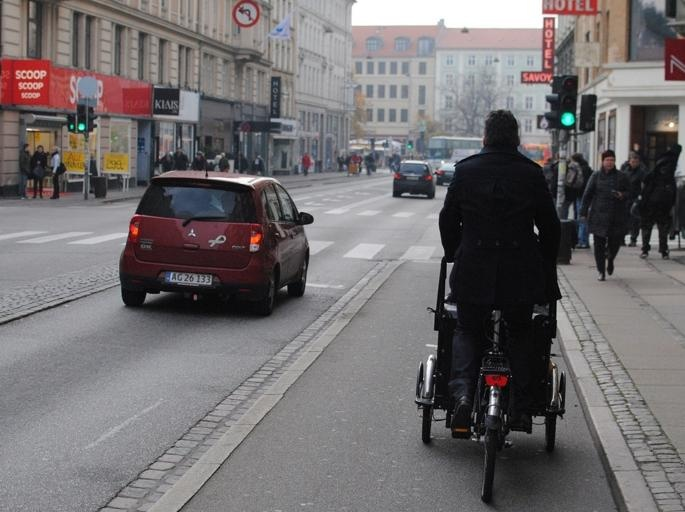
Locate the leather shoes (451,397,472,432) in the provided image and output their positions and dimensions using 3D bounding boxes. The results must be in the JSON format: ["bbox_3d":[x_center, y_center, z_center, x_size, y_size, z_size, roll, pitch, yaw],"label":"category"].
[{"bbox_3d":[0.739,0.979,4.616,0.085,0.235,0.095,4,21,4],"label":"leather shoes"}]

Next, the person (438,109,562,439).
[{"bbox_3d":[0.976,0.116,4.682,0.753,2.045,0.478,1,6,7],"label":"person"}]

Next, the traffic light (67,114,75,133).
[{"bbox_3d":[-11.591,-5.682,31.850,0.321,0.769,0.534,-2,6,-23],"label":"traffic light"}]

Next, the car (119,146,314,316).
[{"bbox_3d":[-1.866,-0.209,10.856,2.670,2.042,1.604,-2,6,-16],"label":"car"}]

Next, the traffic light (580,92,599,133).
[{"bbox_3d":[5.642,-3.340,17.249,0.359,0.881,1.229,2,6,16],"label":"traffic light"}]

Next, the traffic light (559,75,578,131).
[{"bbox_3d":[5.002,-3.421,16.568,0.362,1.175,0.359,1,6,11],"label":"traffic light"}]

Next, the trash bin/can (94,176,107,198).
[{"bbox_3d":[-10.791,-3.053,33.109,0.479,0.907,0.695,-2,6,-22],"label":"trash bin/can"}]
